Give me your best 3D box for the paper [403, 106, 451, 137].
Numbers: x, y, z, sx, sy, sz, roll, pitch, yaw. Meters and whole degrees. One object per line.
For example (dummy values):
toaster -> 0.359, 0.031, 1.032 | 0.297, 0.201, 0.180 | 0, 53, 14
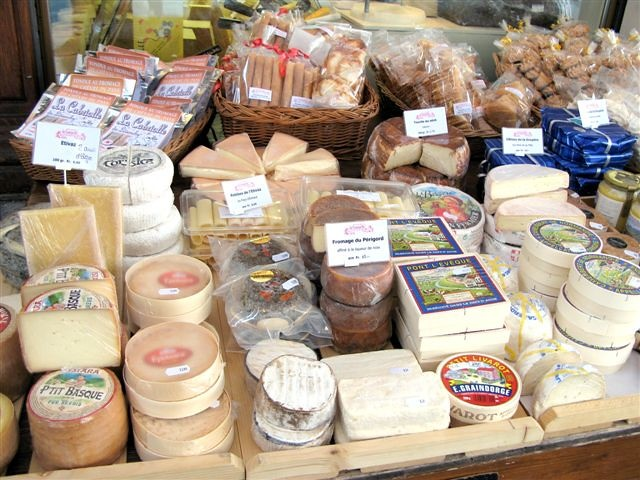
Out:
paper -> 0.519, -0.552, 2.253 | 0.276, 0.137, 0.048 | -8, 7, -14

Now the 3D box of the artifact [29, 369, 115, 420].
artifact -> -0.684, 0.424, 1.288 | 0.219, 0.050, 0.169 | -8, 26, -18

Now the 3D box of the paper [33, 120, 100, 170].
paper -> -0.870, -0.314, 1.608 | 0.294, 0.152, 0.055 | 6, 9, -6
